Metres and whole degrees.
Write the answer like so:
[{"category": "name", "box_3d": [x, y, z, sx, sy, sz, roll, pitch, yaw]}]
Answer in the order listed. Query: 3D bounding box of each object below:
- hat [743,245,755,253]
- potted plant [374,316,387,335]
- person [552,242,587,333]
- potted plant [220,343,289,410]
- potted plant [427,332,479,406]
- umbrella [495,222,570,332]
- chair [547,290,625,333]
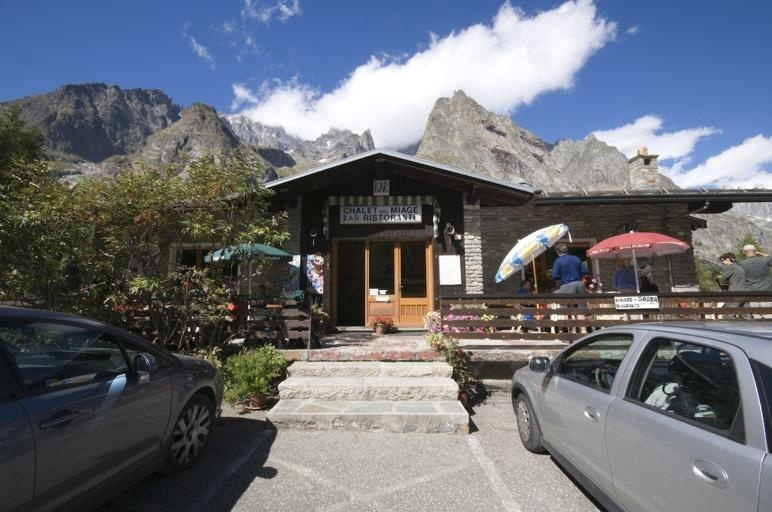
[{"category": "hat", "box_3d": [7.517, -0.151, 9.986, 0.252, 0.117, 0.362, -1, 4, 26]}, {"category": "potted plant", "box_3d": [-0.167, 1.750, 11.965, 0.311, 0.323, 0.326, -7, -15, 27]}, {"category": "person", "box_3d": [3.850, 0.727, 10.231, 0.780, 2.002, 0.687, -3, -7, -5]}, {"category": "potted plant", "box_3d": [-2.264, 2.113, 8.416, 0.705, 0.986, 1.199, -6, -8, 21]}, {"category": "potted plant", "box_3d": [1.224, 2.098, 9.053, 1.008, 1.012, 0.507, 1, -18, -27]}, {"category": "umbrella", "box_3d": [3.213, 0.053, 10.242, 1.180, 1.183, 1.161, 23, -14, -33]}, {"category": "chair", "box_3d": [3.853, 1.232, 9.615, 1.149, 0.707, 1.177, -1, -16, 2]}]
